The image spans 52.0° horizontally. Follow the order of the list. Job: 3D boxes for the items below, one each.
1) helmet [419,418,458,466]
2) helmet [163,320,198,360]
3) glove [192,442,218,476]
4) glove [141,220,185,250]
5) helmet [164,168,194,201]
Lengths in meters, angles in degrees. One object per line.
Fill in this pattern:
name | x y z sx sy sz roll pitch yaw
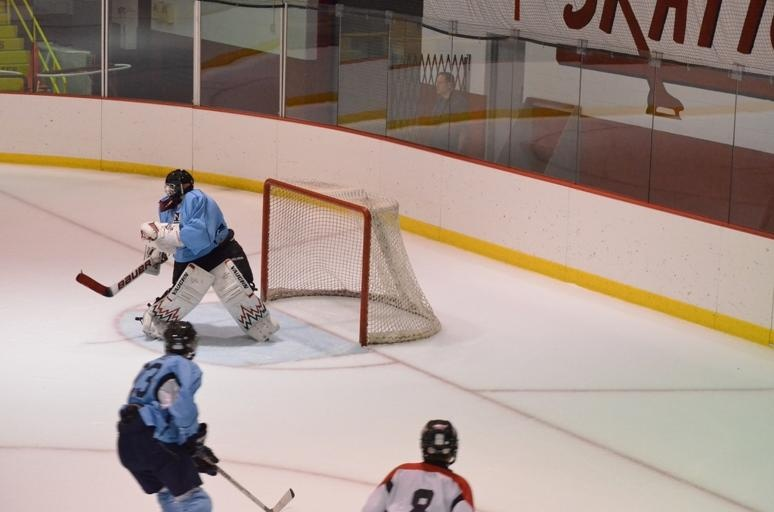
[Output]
helmet | 0.257 0.918 3.898 0.205 0.244 0.256 2 -5 4
helmet | -1.196 0.488 4.499 0.216 0.248 0.258 0 -4 -7
glove | -1.023 1.145 4.426 0.140 0.185 0.057 -5 15 21
glove | -1.899 -0.171 6.658 0.328 0.207 0.135 17 -16 -31
helmet | -1.824 -0.636 6.792 0.270 0.230 0.216 11 19 7
